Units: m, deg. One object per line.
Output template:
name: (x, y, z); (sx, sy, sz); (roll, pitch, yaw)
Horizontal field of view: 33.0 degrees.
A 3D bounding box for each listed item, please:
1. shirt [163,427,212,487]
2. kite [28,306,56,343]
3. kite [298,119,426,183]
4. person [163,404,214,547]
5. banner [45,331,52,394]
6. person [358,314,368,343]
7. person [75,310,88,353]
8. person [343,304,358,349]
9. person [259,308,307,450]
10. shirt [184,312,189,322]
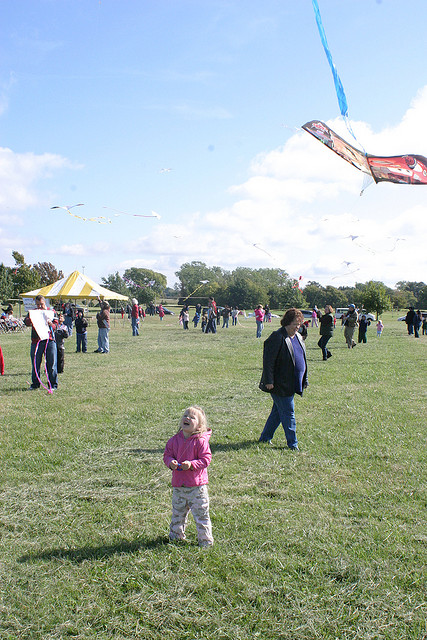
shirt: (-0.175, 1.016, 5.360); (0.332, 0.457, 0.394); (-7, -14, 43)
kite: (-2.695, 0.082, 11.298); (0.330, 0.512, 0.651); (-2, 9, -9)
kite: (2.048, -2.134, 9.081); (1.888, 0.791, 0.983); (-3, 9, -16)
person: (-0.190, 1.153, 5.356); (0.347, 0.990, 0.503); (-1, 9, -4)
banner: (-2.564, 0.673, 11.191); (0.121, 0.919, 0.102); (0, -3, 20)
person: (5.042, 0.281, 24.250); (0.232, 1.020, 0.732); (1, 9, 9)
person: (-3.508, 0.278, 18.944); (0.336, 1.256, 1.457); (-2, 9, -11)
person: (3.998, 0.139, 21.166); (0.490, 1.311, 0.530); (4, 4, -2)
person: (0.765, 0.627, 7.915); (0.515, 1.521, 0.553); (0, 9, 6)
shirt: (-1.208, -0.169, 31.097); (0.091, 0.368, 0.395); (3, 9, 24)
